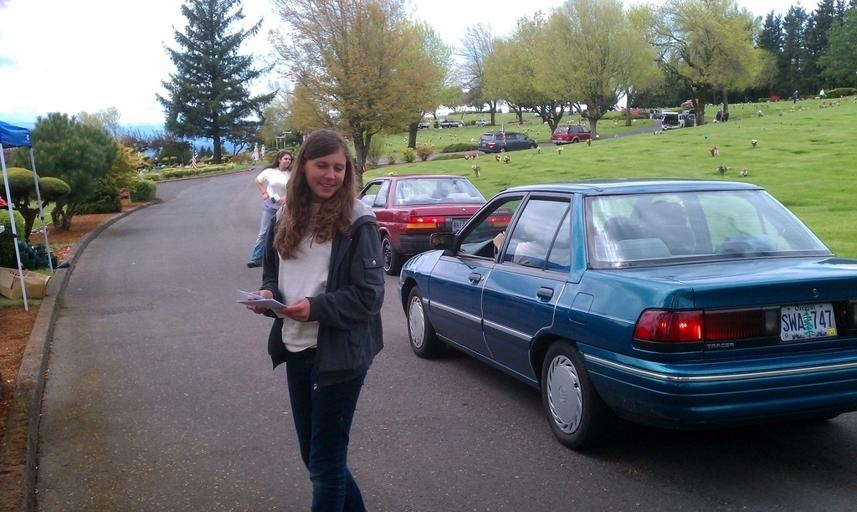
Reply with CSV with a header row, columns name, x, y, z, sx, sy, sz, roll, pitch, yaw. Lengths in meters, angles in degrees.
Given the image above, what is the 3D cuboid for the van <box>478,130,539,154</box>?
name,x,y,z,sx,sy,sz,roll,pitch,yaw
van,7.685,-10.384,47.900,5.063,1.963,2.743,-8,21,-10

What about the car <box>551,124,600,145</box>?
name,x,y,z,sx,sy,sz,roll,pitch,yaw
car,14.678,-12.629,51.878,4.878,1.784,2.112,-12,16,-32

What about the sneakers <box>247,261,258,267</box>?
name,x,y,z,sx,sy,sz,roll,pitch,yaw
sneakers,-3.820,0.210,10.905,0.141,0.140,0.348,-3,11,-29

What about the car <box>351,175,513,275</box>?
name,x,y,z,sx,sy,sz,roll,pitch,yaw
car,0.988,-0.775,13.086,2.702,1.675,4.727,-2,3,8
